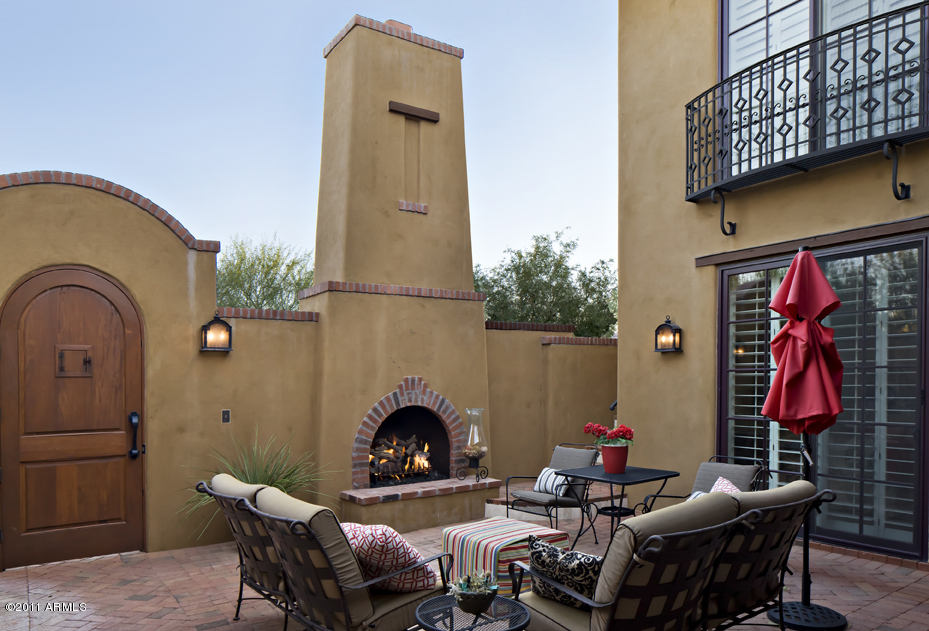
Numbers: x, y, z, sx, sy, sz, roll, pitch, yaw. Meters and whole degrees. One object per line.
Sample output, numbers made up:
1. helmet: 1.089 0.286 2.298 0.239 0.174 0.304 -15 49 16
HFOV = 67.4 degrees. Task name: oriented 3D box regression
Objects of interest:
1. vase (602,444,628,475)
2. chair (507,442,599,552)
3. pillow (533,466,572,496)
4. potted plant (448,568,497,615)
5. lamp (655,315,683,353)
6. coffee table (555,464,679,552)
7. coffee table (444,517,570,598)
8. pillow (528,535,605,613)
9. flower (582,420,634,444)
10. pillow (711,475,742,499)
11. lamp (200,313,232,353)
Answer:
1. vase: 1.870 1.788 8.692 0.323 0.297 0.333 -4 -6 35
2. chair: 1.156 2.526 9.994 1.159 1.452 1.289 5 -10 -38
3. pillow: 1.220 2.268 9.516 0.241 0.461 0.681 27 -26 -31
4. potted plant: 0.083 2.369 5.948 0.348 0.268 0.357 2 -11 -11
5. lamp: 2.996 0.290 10.177 0.225 0.623 0.485 4 -6 -38
6. coffee table: 1.956 2.651 8.950 1.293 1.184 1.290 2 -5 -35
7. coffee table: 0.397 2.791 7.346 0.798 0.528 1.059 -1 -3 -28
8. pillow: 0.895 2.362 6.314 0.799 0.566 0.287 4 -23 48
9. flower: 1.857 1.522 8.907 0.563 0.300 0.588 -1 -7 7
10. pillow: 2.753 1.796 7.292 0.346 0.125 0.378 -2 5 5
11. lamp: -3.436 0.254 9.581 0.488 0.634 0.225 3 -6 -32
